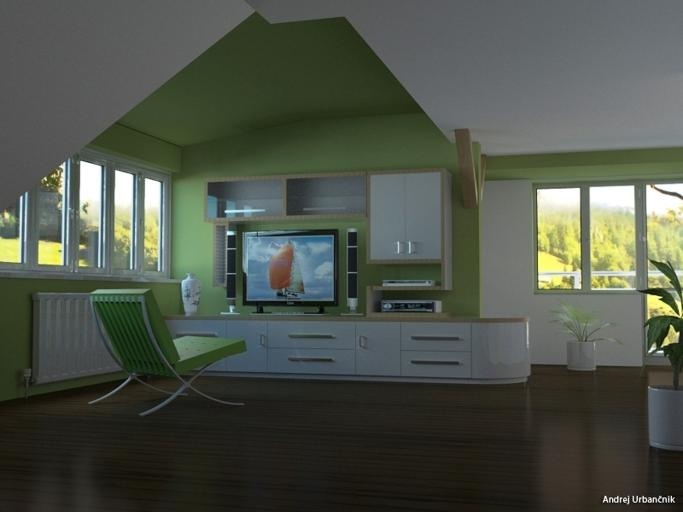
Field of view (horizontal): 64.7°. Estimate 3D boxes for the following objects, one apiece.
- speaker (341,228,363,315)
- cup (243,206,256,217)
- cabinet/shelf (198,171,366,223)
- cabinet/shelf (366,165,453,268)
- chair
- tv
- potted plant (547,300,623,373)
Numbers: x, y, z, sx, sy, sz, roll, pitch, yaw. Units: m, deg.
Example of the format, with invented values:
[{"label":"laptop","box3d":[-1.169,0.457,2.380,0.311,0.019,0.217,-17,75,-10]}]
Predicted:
[{"label":"speaker","box3d":[0.138,0.188,6.889,0.181,1.070,0.363,-1,0,1]},{"label":"cup","box3d":[-1.197,-0.577,7.050,0.130,0.140,0.145,1,-6,-13]},{"label":"cabinet/shelf","box3d":[-0.756,-0.759,6.985,2.142,0.590,0.171,-1,0,15]},{"label":"cabinet/shelf","box3d":[0.814,-0.471,6.556,1.315,1.440,0.582,0,-2,12]},{"label":"chair","box3d":[-1.636,0.840,5.128,0.955,0.980,1.228,-5,-9,40]},{"label":"tv","box3d":[-0.615,0.215,6.987,1.195,0.920,0.195,0,-5,8]},{"label":"potted plant","box3d":[3.410,1.146,7.715,0.814,0.973,1.010,-1,0,38]}]
